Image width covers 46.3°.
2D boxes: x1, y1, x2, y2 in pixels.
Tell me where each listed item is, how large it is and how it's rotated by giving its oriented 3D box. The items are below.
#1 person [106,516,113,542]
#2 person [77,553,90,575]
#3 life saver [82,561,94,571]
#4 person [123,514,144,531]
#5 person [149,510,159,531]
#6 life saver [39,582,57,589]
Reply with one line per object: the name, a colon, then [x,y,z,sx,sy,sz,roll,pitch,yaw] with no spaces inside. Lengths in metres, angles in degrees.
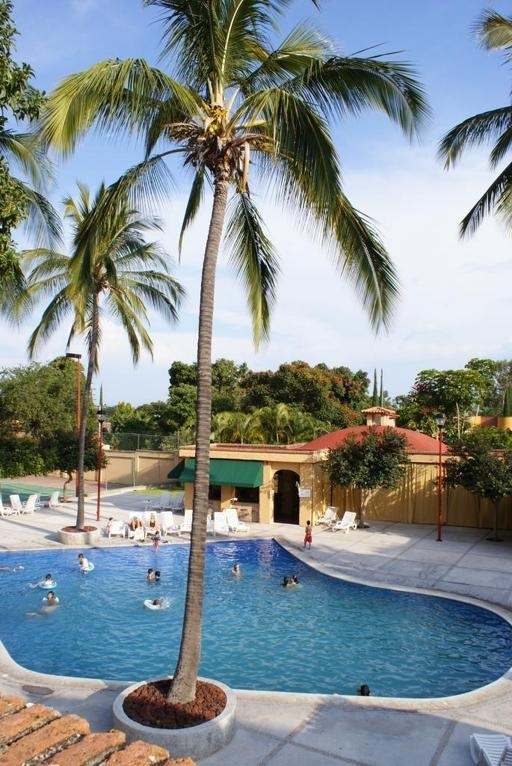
person: [-6.034,5.951,24.680,0.231,0.906,1.095,2,2,-14]
person: [-5.563,5.896,19.502,0.335,0.530,0.897,2,2,-16]
life saver: [-5.468,5.975,19.521,0.324,0.376,0.281,-4,-4,-5]
person: [-4.996,5.894,24.831,0.598,0.488,1.894,2,3,-22]
person: [-4.232,5.763,24.888,0.438,0.926,0.621,-1,-9,-5]
life saver: [-6.089,5.937,17.539,0.264,0.087,0.262,4,-4,-41]
